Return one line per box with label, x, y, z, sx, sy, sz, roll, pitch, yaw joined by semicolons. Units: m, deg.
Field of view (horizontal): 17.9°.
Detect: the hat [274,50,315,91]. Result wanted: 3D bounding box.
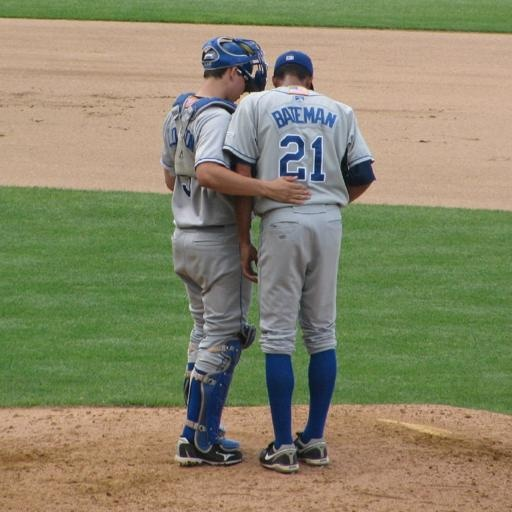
hat;0.451;-2.590;22.572;0.597;0.316;0.375;-23;-16;40
